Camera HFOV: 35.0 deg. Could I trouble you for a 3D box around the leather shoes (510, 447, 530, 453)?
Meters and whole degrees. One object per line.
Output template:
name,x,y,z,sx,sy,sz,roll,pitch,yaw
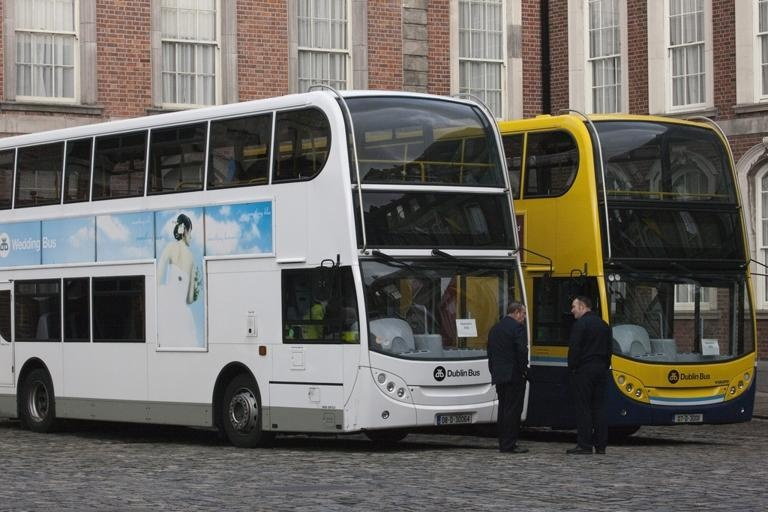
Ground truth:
leather shoes,1.983,2.843,17.896,0.304,0.123,0.099,-2,1,-11

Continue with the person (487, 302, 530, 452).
person,1.815,1.799,17.776,0.588,2.154,0.419,-3,0,5

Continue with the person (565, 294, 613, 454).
person,2.993,1.788,17.829,0.519,2.225,0.588,-3,0,41

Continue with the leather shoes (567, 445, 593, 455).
leather shoes,2.849,2.856,17.776,0.377,0.146,0.139,3,0,10
